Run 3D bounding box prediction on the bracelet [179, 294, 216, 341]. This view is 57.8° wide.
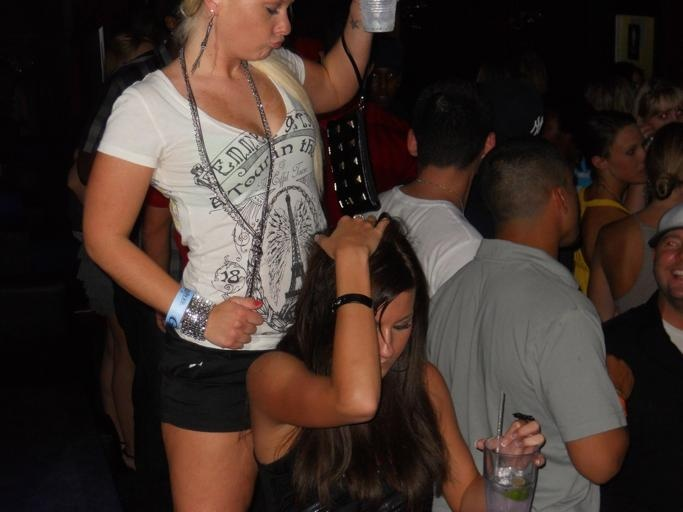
[{"bbox_3d":[-0.503,0.206,2.131,0.126,0.148,0.046,16,-1,-4],"label":"bracelet"}]
